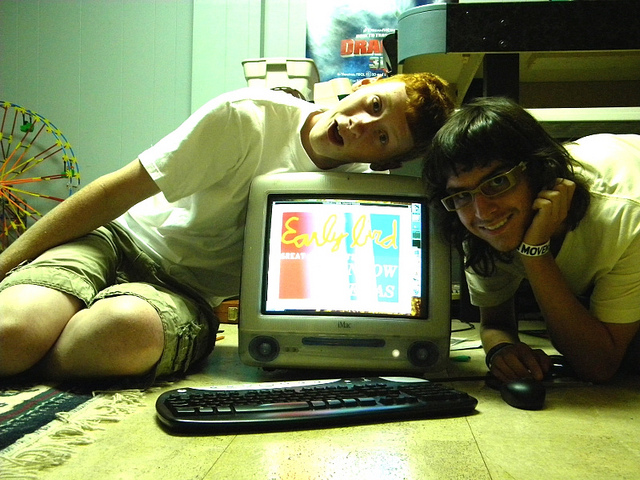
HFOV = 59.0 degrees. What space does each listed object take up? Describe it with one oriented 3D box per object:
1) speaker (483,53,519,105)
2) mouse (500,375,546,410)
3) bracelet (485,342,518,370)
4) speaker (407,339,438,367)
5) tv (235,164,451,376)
[{"bbox_3d":[0.642,-0.573,2.003,0.124,0.174,0.194,0,21,17],"label":"speaker"},{"bbox_3d":[0.480,0.355,1.315,0.062,0.042,0.084,-2,-2,-12],"label":"mouse"},{"bbox_3d":[0.491,0.313,1.557,0.106,0.046,0.041,-16,23,-26],"label":"bracelet"},{"bbox_3d":[0.272,0.301,1.489,0.076,0.065,0.036,-2,21,10],"label":"speaker"},{"bbox_3d":[0.032,0.062,1.675,0.597,0.532,0.334,0,6,-18],"label":"tv"}]
